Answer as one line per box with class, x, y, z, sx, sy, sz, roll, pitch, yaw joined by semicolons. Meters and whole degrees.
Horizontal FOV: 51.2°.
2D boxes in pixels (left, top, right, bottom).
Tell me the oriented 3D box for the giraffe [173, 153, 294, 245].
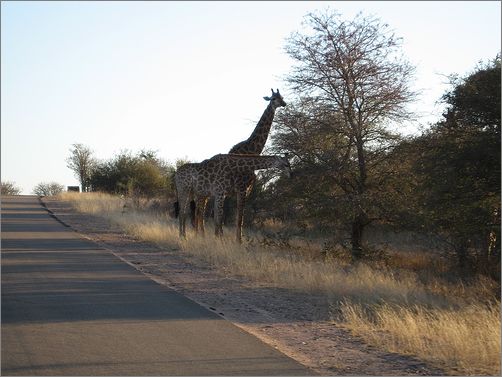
giraffe;-0.846;0.419;19.979;5.282;3.659;1.339;4;6;32
